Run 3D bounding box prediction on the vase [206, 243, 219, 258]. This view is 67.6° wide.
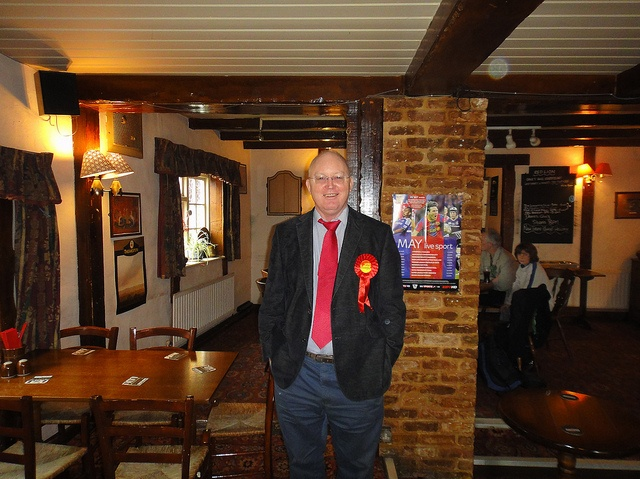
[{"bbox_3d":[-1.602,0.164,7.102,0.175,0.157,0.169,1,-7,-5],"label":"vase"}]

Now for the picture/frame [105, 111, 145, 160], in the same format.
[{"bbox_3d":[-2.011,-1.149,4.952,0.761,0.527,0.026,13,12,39],"label":"picture/frame"}]

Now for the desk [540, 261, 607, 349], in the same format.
[{"bbox_3d":[3.611,0.945,6.780,1.054,0.993,0.863,2,10,9],"label":"desk"}]

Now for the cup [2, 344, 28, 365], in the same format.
[{"bbox_3d":[-2.226,0.841,3.489,0.117,0.106,0.115,2,-2,0],"label":"cup"}]

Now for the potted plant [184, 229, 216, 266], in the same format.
[{"bbox_3d":[-1.661,0.120,6.690,0.279,0.249,0.199,-1,-18,-46],"label":"potted plant"}]

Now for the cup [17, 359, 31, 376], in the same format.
[{"bbox_3d":[-2.135,0.918,3.446,0.084,0.104,0.076,2,5,16],"label":"cup"}]

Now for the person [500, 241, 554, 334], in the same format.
[{"bbox_3d":[2.394,0.522,5.497,0.544,0.956,1.216,2,5,24],"label":"person"}]

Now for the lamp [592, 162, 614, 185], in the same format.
[{"bbox_3d":[4.464,-1.063,7.612,0.296,0.277,0.288,1,-4,5],"label":"lamp"}]

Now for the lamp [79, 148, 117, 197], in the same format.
[{"bbox_3d":[-2.006,-0.608,4.278,0.261,0.418,0.302,-3,6,-36],"label":"lamp"}]

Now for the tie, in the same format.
[{"bbox_3d":[0.032,0.265,2.954,0.153,0.779,0.194,0,5,3],"label":"tie"}]
